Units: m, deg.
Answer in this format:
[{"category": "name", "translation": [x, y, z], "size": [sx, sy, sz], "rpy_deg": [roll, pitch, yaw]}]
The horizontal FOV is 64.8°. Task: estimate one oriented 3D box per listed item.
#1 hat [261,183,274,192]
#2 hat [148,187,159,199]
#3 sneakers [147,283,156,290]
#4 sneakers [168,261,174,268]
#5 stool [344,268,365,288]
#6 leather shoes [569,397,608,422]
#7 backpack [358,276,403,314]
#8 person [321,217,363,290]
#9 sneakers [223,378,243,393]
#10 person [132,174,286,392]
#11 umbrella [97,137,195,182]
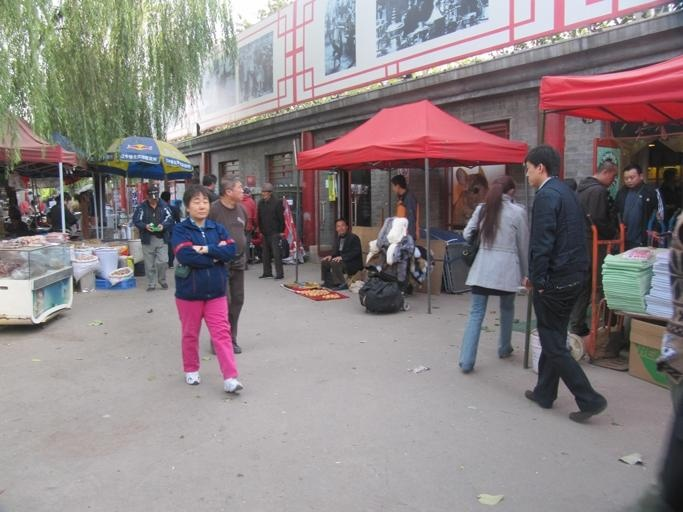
[{"category": "hat", "translation": [-1.716, -1.524, 12.210], "size": [0.193, 0.203, 0.260], "rpy_deg": [4, 21, -2]}, {"category": "hat", "translation": [-3.809, -1.271, 10.860], "size": [0.181, 0.242, 0.224], "rpy_deg": [-4, 6, -41]}, {"category": "sneakers", "translation": [-3.896, 0.616, 10.994], "size": [0.125, 0.127, 0.350], "rpy_deg": [0, -3, -10]}, {"category": "sneakers", "translation": [-4.721, 0.230, 14.861], "size": [0.145, 0.171, 0.164], "rpy_deg": [0, -1, 6]}, {"category": "stool", "translation": [0.309, 0.478, 11.279], "size": [0.150, 0.338, 0.411], "rpy_deg": [29, -25, -33]}, {"category": "leather shoes", "translation": [2.204, 1.359, 4.818], "size": [0.267, 0.255, 0.199], "rpy_deg": [1, 8, 8]}, {"category": "backpack", "translation": [0.644, 0.623, 8.808], "size": [0.489, 0.484, 0.658], "rpy_deg": [-4, -7, 34]}, {"category": "person", "translation": [0.021, -0.055, 11.129], "size": [0.847, 1.415, 0.651], "rpy_deg": [3, 8, 20]}, {"category": "sneakers", "translation": [-1.111, 1.296, 5.498], "size": [0.191, 0.167, 0.185], "rpy_deg": [-2, 8, -11]}, {"category": "person", "translation": [-1.397, 0.315, 5.631], "size": [0.744, 2.075, 0.671], "rpy_deg": [0, 8, 3]}, {"category": "umbrella", "translation": [-4.659, -2.322, 12.903], "size": [1.465, 0.508, 1.473], "rpy_deg": [2, 6, -39]}]
